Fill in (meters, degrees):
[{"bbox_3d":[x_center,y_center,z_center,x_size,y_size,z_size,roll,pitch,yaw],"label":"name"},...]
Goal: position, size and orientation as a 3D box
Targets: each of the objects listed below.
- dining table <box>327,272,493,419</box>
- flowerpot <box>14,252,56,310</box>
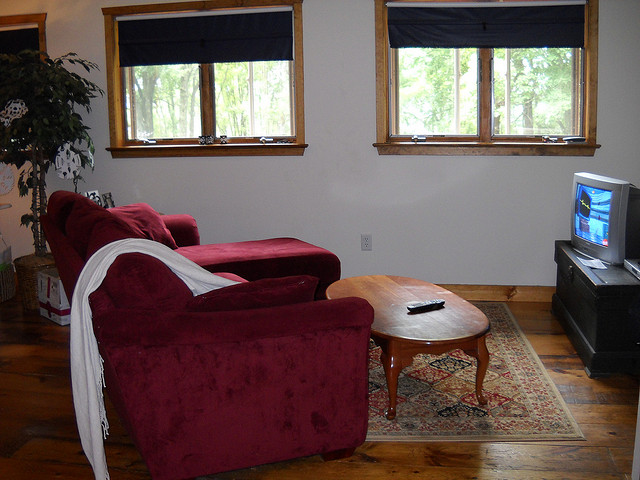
[{"bbox_3d":[0.547,0.450,2.875,0.717,0.425,1.216,-5,14,-12],"label":"dining table"},{"bbox_3d":[-2.458,0.368,4.354,0.474,0.433,0.227,4,11,38],"label":"flowerpot"}]
